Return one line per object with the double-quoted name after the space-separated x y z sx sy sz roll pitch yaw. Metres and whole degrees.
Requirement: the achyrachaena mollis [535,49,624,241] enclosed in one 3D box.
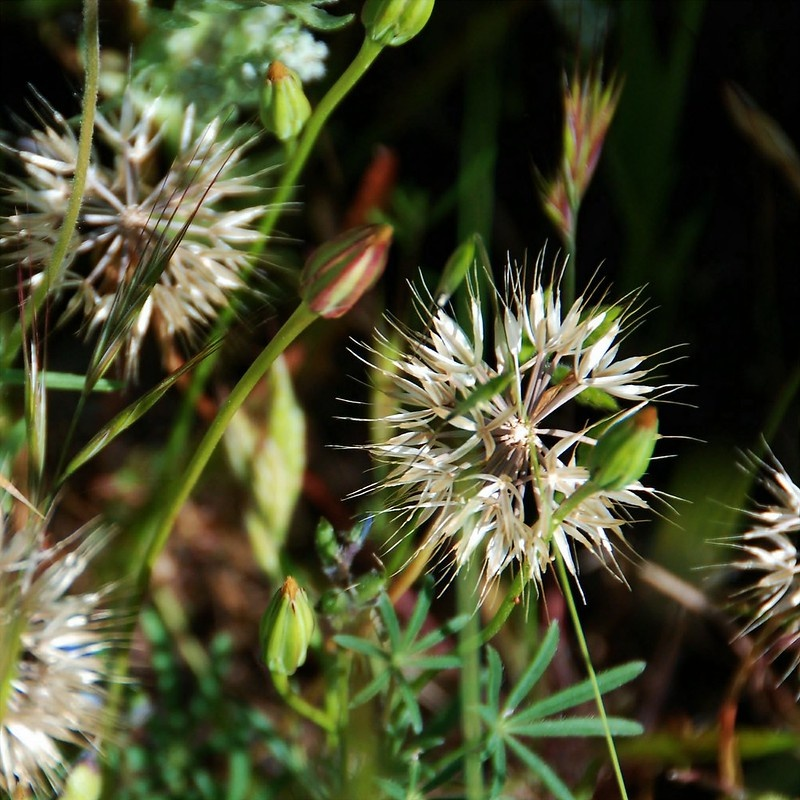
0.148 -0.191 0.706 0.050 0.049 0.221 -3 64 32 "achyrachaena mollis"
